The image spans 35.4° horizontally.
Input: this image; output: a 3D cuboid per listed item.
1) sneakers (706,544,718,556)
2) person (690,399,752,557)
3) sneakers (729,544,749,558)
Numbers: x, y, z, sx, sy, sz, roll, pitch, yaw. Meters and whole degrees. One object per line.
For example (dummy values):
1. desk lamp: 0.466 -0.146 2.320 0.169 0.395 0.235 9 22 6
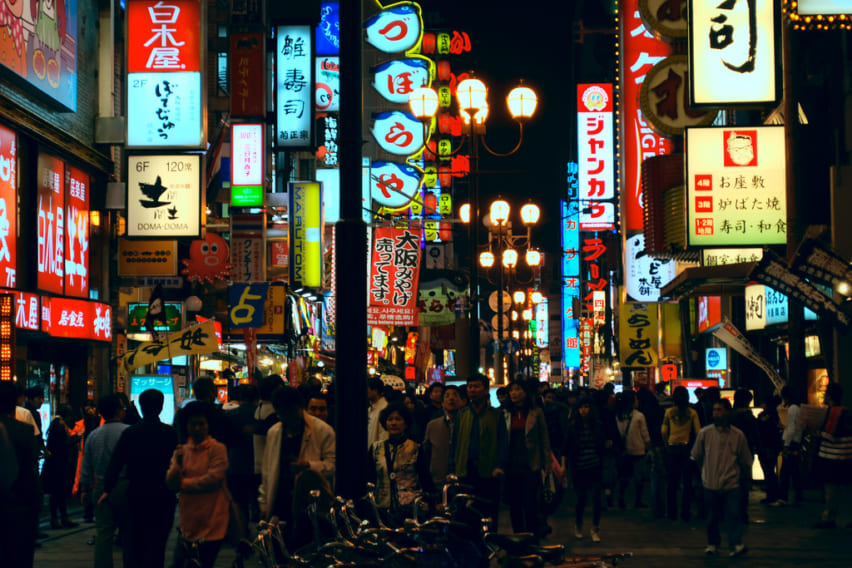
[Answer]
1. sneakers: 4.996 4.592 23.288 0.250 0.158 0.179 -3 -10 0
2. person: 5.294 3.401 23.699 1.005 2.662 1.370 -5 -10 12
3. sneakers: 5.381 4.548 22.930 0.326 0.138 0.148 -31 -54 31
